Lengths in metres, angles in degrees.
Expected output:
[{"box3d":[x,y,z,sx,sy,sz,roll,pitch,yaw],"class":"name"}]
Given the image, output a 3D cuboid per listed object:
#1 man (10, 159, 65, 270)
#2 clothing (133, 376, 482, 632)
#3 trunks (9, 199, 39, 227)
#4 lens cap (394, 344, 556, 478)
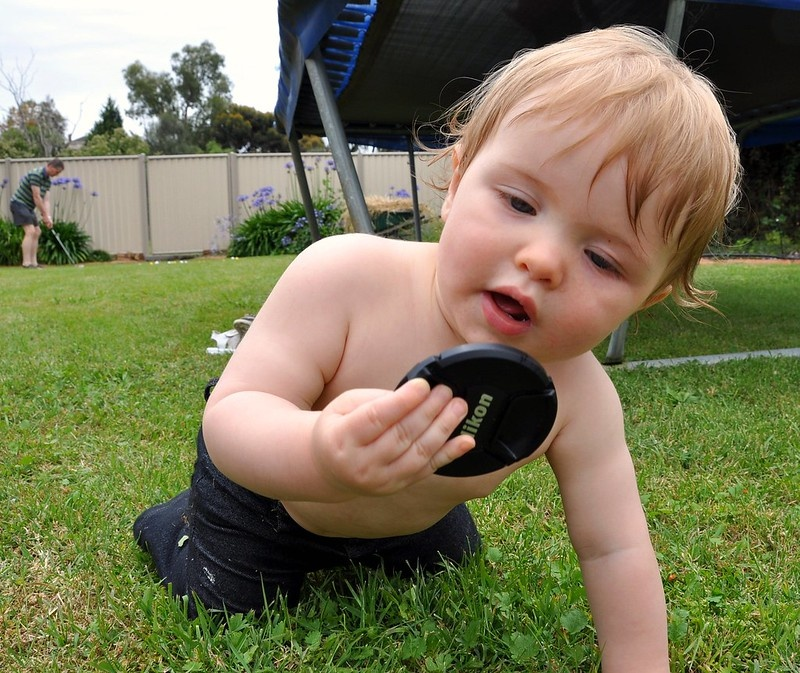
[{"box3d":[-5.699,-1.954,9.986,0.722,1.697,1.437,-6,9,-23],"class":"man"},{"box3d":[-0.328,0.264,1.533,0.405,0.539,0.603,39,44,25],"class":"clothing"},{"box3d":[-5.742,-1.872,9.711,0.322,0.401,0.373,-8,10,-32],"class":"trunks"},{"box3d":[0.107,0.108,0.952,0.228,0.244,0.034,3,36,-11],"class":"lens cap"}]
